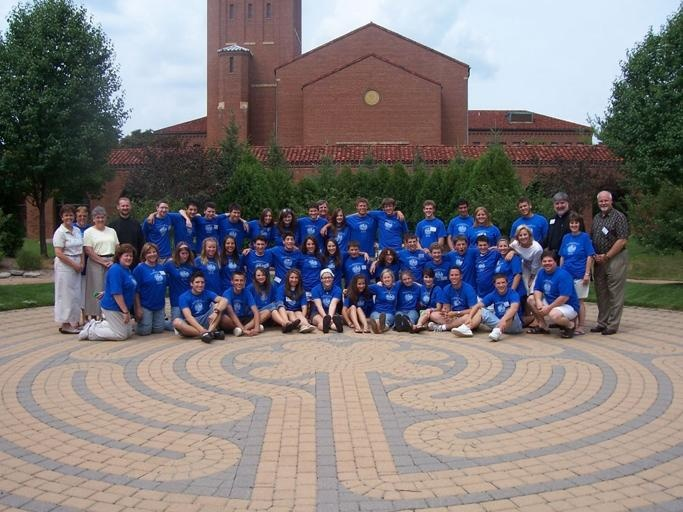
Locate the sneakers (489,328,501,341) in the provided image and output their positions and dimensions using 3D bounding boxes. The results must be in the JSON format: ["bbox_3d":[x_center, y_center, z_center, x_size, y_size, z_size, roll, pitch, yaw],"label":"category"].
[{"bbox_3d":[2.770,1.435,12.537,0.127,0.145,0.320,27,-3,22],"label":"sneakers"}]

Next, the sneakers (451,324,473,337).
[{"bbox_3d":[2.196,1.378,12.815,0.446,0.198,0.174,8,-5,-10],"label":"sneakers"}]

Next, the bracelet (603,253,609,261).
[{"bbox_3d":[4.912,0.012,12.879,0.025,0.098,0.100,14,12,-21],"label":"bracelet"}]

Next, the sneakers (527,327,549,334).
[{"bbox_3d":[3.747,1.438,13.228,0.278,0.087,0.153,4,0,12],"label":"sneakers"}]

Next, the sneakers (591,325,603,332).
[{"bbox_3d":[4.862,1.403,13.196,0.262,0.104,0.094,3,-3,-16],"label":"sneakers"}]

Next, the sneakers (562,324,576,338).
[{"bbox_3d":[4.159,1.384,12.732,0.243,0.161,0.625,1,2,21],"label":"sneakers"}]

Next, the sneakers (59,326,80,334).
[{"bbox_3d":[-5.101,1.407,13.059,0.332,0.116,0.182,-1,1,9],"label":"sneakers"}]

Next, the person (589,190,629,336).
[{"bbox_3d":[4.963,0.134,12.920,0.660,2.719,0.848,4,12,19],"label":"person"}]
